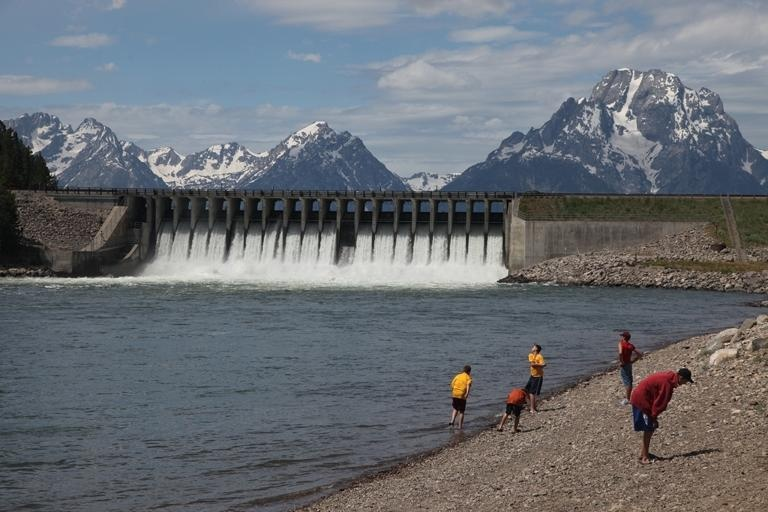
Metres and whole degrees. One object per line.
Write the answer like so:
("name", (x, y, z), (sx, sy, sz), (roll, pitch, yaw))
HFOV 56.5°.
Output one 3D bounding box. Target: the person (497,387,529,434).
("person", (5.684, 6.524, 31.116), (0.960, 2.639, 0.813), (12, -44, 16))
